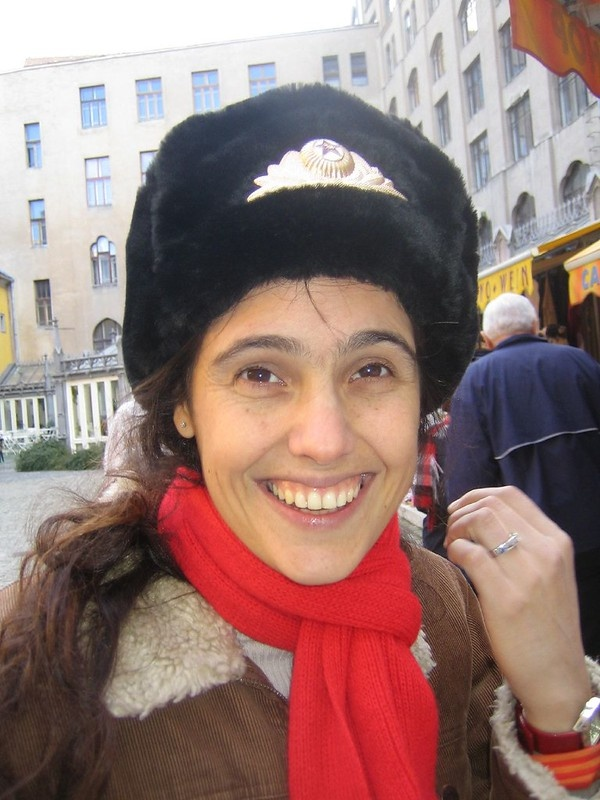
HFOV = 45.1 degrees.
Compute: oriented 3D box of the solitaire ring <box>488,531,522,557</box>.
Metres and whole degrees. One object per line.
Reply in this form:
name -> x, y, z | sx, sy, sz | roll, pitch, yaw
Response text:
solitaire ring -> 0.497, 0.353, 1.743 | 0.055, 0.014, 0.055 | -30, -1, 0
